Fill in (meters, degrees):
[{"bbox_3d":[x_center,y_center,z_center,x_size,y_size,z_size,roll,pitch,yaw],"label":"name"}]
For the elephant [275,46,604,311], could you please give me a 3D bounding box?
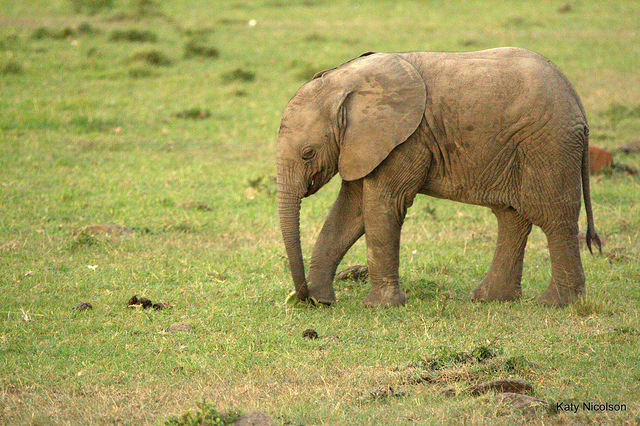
[{"bbox_3d":[1.827,-0.407,18.053,5.070,3.854,2.240,0,2,5],"label":"elephant"}]
